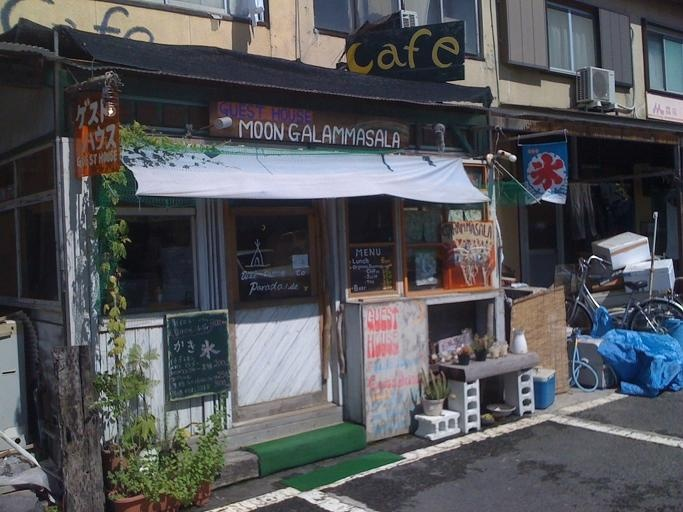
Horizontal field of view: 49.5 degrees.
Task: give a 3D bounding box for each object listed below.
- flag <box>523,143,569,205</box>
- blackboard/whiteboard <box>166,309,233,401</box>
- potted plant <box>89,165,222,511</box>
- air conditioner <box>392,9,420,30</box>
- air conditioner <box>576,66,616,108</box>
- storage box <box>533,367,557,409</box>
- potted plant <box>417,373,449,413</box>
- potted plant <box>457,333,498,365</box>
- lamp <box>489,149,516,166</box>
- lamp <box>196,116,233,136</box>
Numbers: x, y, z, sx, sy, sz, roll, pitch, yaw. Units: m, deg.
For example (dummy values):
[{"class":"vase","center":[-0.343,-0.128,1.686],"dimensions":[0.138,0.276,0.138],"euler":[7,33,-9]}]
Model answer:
[{"class":"flag","center":[3.130,-1.301,11.414],"dimensions":[0.869,1.291,0.079],"euler":[2,7,43]},{"class":"blackboard/whiteboard","center":[-1.744,1.169,8.900],"dimensions":[0.907,1.268,0.130],"euler":[-3,3,-34]},{"class":"potted plant","center":[-2.087,0.864,8.356],"dimensions":[1.339,3.654,1.644],"euler":[-5,13,-20]},{"class":"air conditioner","center":[1.022,-3.613,11.278],"dimensions":[0.347,0.249,0.448],"euler":[-2,14,-10]},{"class":"air conditioner","center":[4.861,-3.221,14.152],"dimensions":[0.749,0.775,0.454],"euler":[3,13,11]},{"class":"storage box","center":[3.007,1.907,10.953],"dimensions":[0.373,0.516,0.651],"euler":[-2,-1,26]},{"class":"potted plant","center":[1.231,1.831,10.025],"dimensions":[0.431,0.612,0.447],"euler":[7,-11,-35]},{"class":"potted plant","center":[1.847,1.311,10.473],"dimensions":[0.409,0.338,0.428],"euler":[0,-8,-16]},{"class":"lamp","center":[2.624,-1.642,12.167],"dimensions":[0.557,0.274,0.618],"euler":[0,2,-1]},{"class":"lamp","center":[-1.618,-1.605,9.145],"dimensions":[0.545,0.185,0.181],"euler":[-7,-3,12]}]
